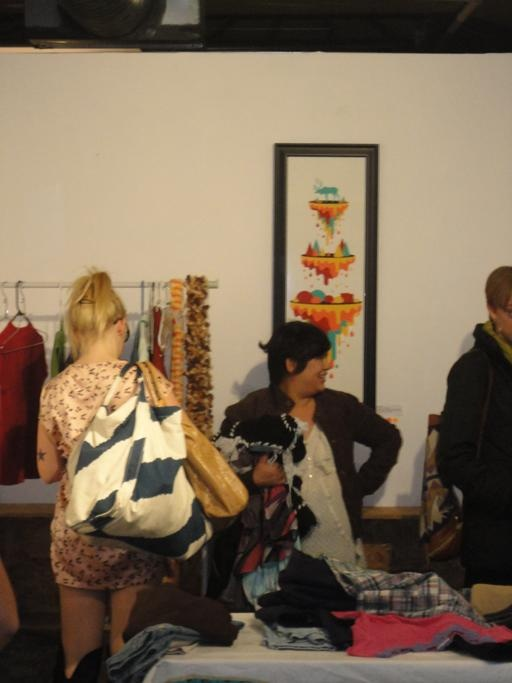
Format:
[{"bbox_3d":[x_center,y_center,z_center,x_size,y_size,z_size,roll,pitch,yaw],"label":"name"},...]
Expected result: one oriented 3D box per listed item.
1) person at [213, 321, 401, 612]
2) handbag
[{"bbox_3d":[0.153,0.428,3.254,0.582,0.977,0.925,3,8,23],"label":"person"},{"bbox_3d":[-0.380,0.388,2.588,0.281,0.602,0.440,6,10,39],"label":"handbag"}]
